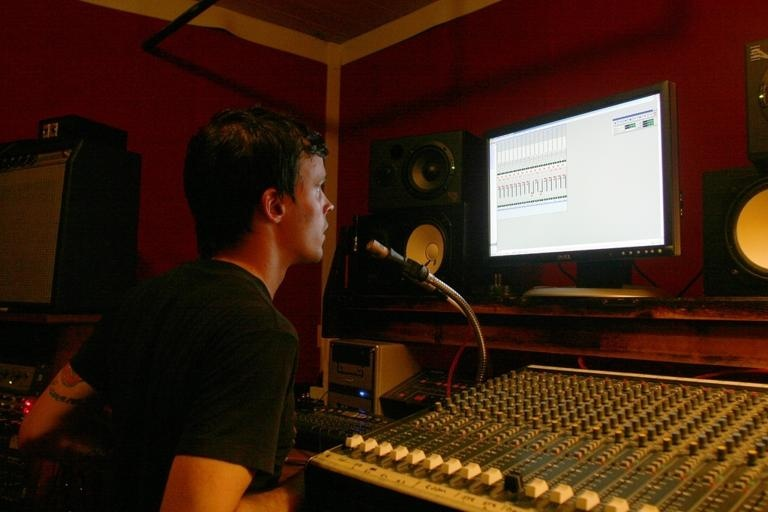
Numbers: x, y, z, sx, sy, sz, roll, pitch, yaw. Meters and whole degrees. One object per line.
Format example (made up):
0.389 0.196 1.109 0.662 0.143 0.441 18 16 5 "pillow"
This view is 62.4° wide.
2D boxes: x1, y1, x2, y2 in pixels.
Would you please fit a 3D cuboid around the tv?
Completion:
0.734 -0.204 2.321 0.862 0.772 0.317 -7 -13 41 "tv"

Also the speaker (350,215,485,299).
0.119 -0.035 2.549 0.579 0.357 0.324 1 -3 21 "speaker"

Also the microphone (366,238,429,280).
0.052 0.017 2.104 0.177 0.130 0.167 0 -2 14 "microphone"
